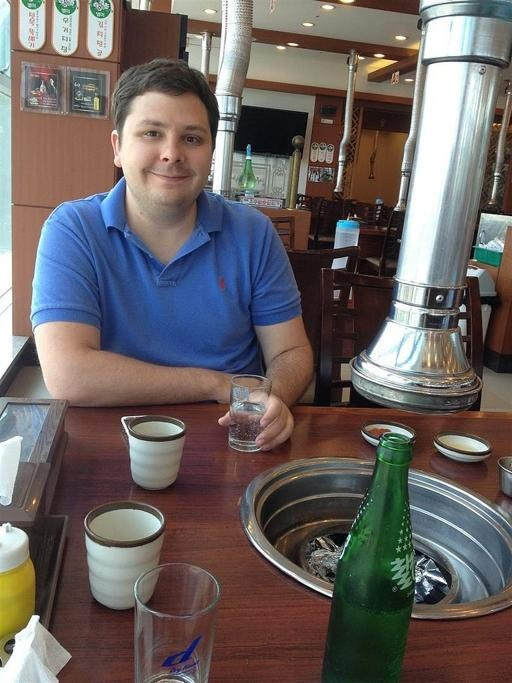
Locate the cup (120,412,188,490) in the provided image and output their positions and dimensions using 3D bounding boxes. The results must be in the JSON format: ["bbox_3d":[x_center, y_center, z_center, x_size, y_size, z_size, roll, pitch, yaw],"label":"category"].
[{"bbox_3d":[-0.168,0.171,0.856,0.091,0.095,0.136,-4,15,-28],"label":"cup"}]

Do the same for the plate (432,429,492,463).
[{"bbox_3d":[0.404,0.202,1.044,0.069,0.025,0.066,-1,12,17],"label":"plate"}]

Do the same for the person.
[{"bbox_3d":[-0.216,-0.204,1.463,0.745,0.993,0.690,1,18,-2],"label":"person"}]

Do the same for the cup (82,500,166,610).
[{"bbox_3d":[-0.126,0.210,0.572,0.103,0.106,0.103,3,10,-1],"label":"cup"}]
